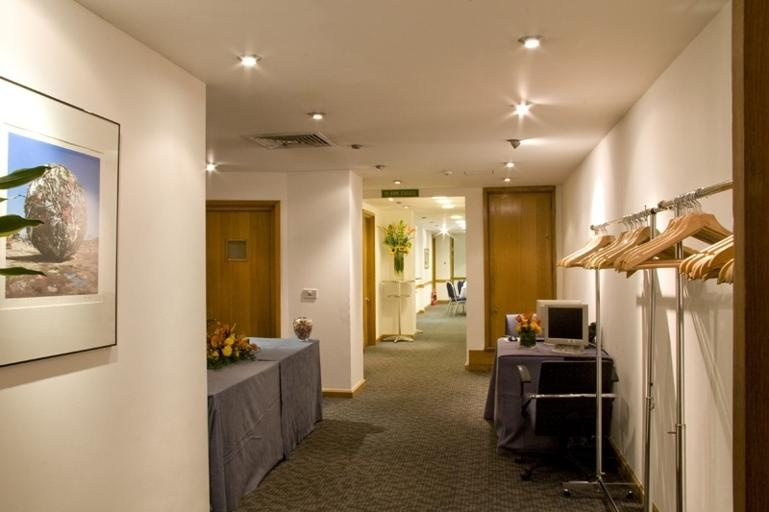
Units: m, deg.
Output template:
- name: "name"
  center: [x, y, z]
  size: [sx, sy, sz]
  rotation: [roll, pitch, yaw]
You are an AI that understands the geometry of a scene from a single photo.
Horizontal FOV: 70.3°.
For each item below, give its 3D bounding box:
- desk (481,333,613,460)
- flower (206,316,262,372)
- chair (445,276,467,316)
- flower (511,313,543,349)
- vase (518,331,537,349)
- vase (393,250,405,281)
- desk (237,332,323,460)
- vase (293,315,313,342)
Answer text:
- name: "desk"
  center: [1.566, 1.321, 5.296]
  size: [0.965, 0.755, 0.995]
  rotation: [1, -1, -2]
- name: "flower"
  center: [-1.380, 0.774, 4.993]
  size: [0.488, 0.296, 0.487]
  rotation: [1, -2, -9]
- name: "chair"
  center: [2.257, 1.301, 17.355]
  size: [0.916, 1.521, 0.952]
  rotation: [-1, 0, 3]
- name: "flower"
  center: [1.519, 0.786, 5.872]
  size: [0.305, 0.362, 0.316]
  rotation: [-1, -3, 13]
- name: "vase"
  center: [1.513, 0.879, 5.759]
  size: [0.155, 0.170, 0.161]
  rotation: [4, -10, -19]
- name: "vase"
  center: [0.348, 0.177, 12.024]
  size: [0.198, 0.635, 0.395]
  rotation: [2, 3, 41]
- name: "desk"
  center: [-1.018, 1.392, 5.557]
  size: [0.882, 0.584, 0.906]
  rotation: [-2, -5, 0]
- name: "vase"
  center: [-0.899, 0.806, 6.145]
  size: [0.259, 0.298, 0.262]
  rotation: [0, -12, -2]
